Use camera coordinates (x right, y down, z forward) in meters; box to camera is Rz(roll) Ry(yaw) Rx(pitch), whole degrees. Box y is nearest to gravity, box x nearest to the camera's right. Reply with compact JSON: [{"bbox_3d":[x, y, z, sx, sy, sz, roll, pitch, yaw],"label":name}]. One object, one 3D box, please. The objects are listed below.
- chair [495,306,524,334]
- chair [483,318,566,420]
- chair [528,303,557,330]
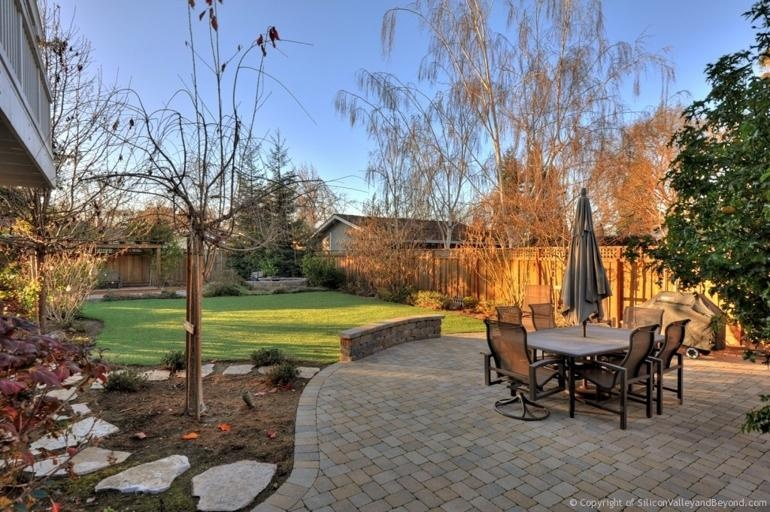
[{"bbox_3d":[2.252,1.127,9.202,0.390,0.710,0.503,-2,1,-42],"label":"chair"},{"bbox_3d":[2.201,1.779,8.309,1.046,1.469,1.059,0,2,-38],"label":"chair"},{"bbox_3d":[2.986,1.171,10.031,0.414,0.692,0.499,-4,-7,-9],"label":"chair"}]
